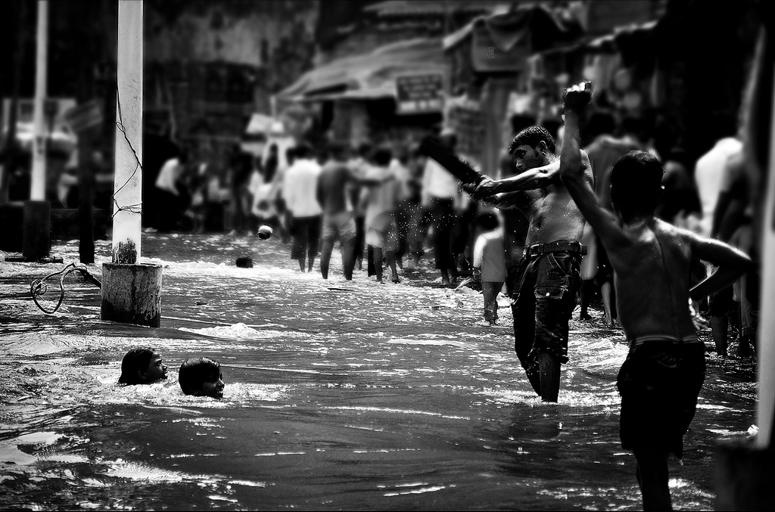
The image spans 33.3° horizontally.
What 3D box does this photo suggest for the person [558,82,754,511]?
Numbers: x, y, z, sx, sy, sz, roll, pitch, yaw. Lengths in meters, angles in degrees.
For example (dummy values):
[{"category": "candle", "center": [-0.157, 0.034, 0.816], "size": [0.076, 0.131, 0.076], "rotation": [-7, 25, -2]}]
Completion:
[{"category": "person", "center": [1.773, 0.480, 9.202], "size": [1.090, 2.505, 0.680], "rotation": [14, 17, 39]}]
